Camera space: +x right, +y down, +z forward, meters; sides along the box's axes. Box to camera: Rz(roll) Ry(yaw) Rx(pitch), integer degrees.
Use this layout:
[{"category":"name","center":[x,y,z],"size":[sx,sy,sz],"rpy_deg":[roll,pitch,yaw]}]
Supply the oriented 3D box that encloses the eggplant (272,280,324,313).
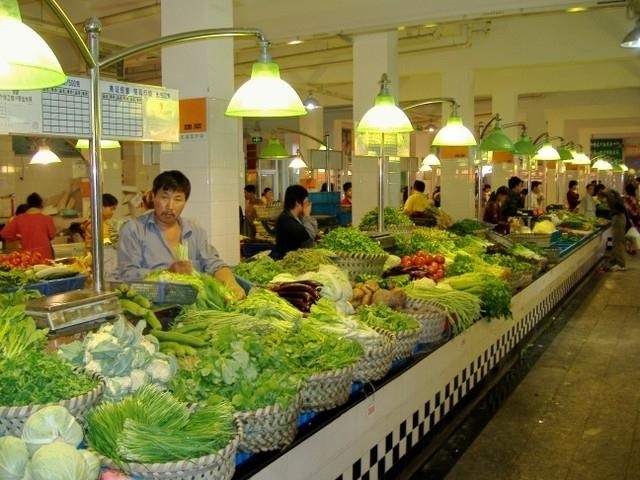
[{"category":"eggplant","center":[-0.164,0.356,3.108],"size":[0.242,0.114,0.208],"rpy_deg":[20,33,14]}]

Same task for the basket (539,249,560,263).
[{"category":"basket","center":[3.741,0.258,7.422],"size":[0.207,0.211,0.157],"rpy_deg":[4,9,36]}]

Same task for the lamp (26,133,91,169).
[{"category":"lamp","center":[-5.193,-1.780,8.981],"size":[1.051,0.484,2.302],"rpy_deg":[-3,8,-33]}]

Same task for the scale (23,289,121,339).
[{"category":"scale","center":[-1.115,0.323,2.071],"size":[0.218,0.097,0.329],"rpy_deg":[-2,4,28]}]

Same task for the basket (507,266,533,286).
[{"category":"basket","center":[2.493,0.456,5.678],"size":[0.239,0.113,0.413],"rpy_deg":[4,8,36]}]

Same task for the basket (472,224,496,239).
[{"category":"basket","center":[2.633,-0.192,7.320],"size":[0.336,0.123,0.356],"rpy_deg":[-1,12,-30]}]

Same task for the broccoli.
[{"category":"broccoli","center":[-0.781,0.463,1.800],"size":[0.313,0.167,0.320],"rpy_deg":[26,14,16]}]

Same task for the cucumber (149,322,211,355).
[{"category":"cucumber","center":[-0.724,0.455,2.240],"size":[0.410,0.141,0.099],"rpy_deg":[20,60,39]}]

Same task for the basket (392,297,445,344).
[{"category":"basket","center":[0.767,0.617,3.642],"size":[0.342,0.317,0.399],"rpy_deg":[7,9,27]}]

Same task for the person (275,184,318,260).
[{"category":"person","center":[-0.310,-0.230,5.736],"size":[0.442,1.006,0.412],"rpy_deg":[1,7,21]}]

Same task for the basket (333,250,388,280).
[{"category":"basket","center":[0.396,0.187,4.306],"size":[0.482,0.241,0.361],"rpy_deg":[7,10,28]}]

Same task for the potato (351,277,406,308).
[{"category":"potato","center":[0.443,0.445,3.482],"size":[0.417,0.194,0.397],"rpy_deg":[2,7,9]}]

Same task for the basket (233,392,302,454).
[{"category":"basket","center":[-0.197,0.767,1.834],"size":[0.308,0.245,0.089],"rpy_deg":[-4,8,-36]}]

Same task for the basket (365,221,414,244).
[{"category":"basket","center":[0.850,-0.075,5.409],"size":[0.397,0.125,0.386],"rpy_deg":[-3,4,-20]}]

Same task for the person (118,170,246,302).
[{"category":"person","center":[-1.075,0.068,3.645],"size":[1.188,1.198,0.821],"rpy_deg":[12,12,22]}]
